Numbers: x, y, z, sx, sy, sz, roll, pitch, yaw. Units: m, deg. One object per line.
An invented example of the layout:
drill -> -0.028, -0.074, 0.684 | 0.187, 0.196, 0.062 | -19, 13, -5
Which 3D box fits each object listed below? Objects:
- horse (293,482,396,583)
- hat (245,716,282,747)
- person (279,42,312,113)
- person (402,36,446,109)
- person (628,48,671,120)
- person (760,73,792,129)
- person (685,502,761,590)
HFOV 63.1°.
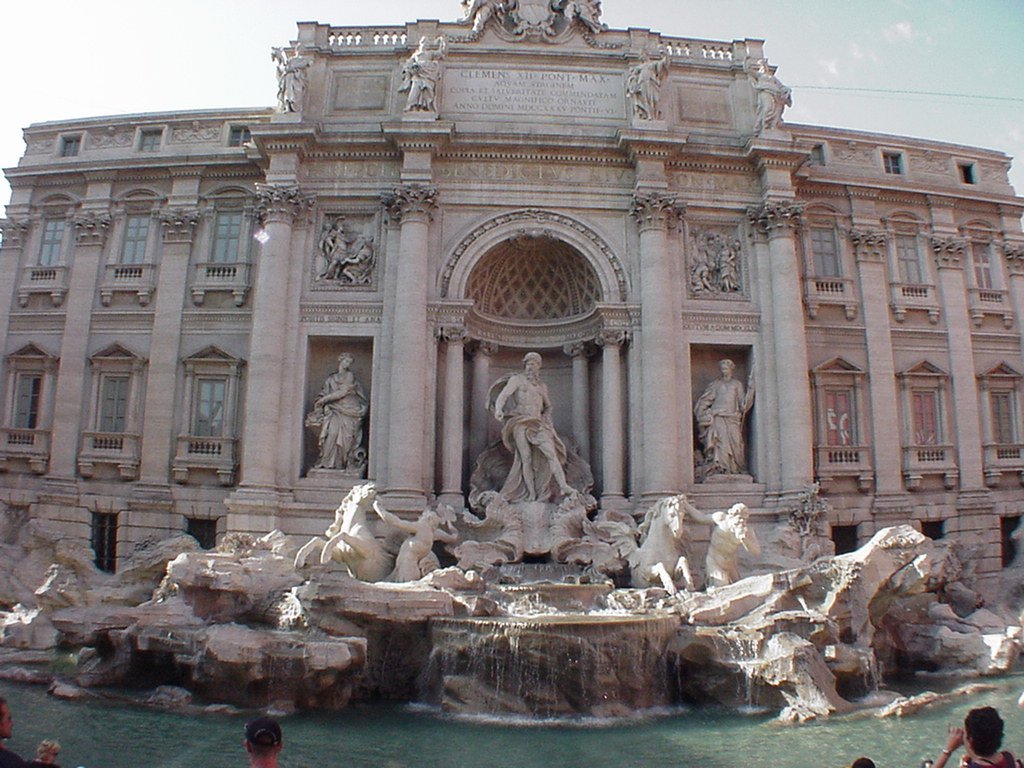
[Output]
horse -> -4.109, 3.784, 20.951 | 2.074, 2.345, 2.963 | 0, -16, -3
hat -> -2.697, 3.783, 9.097 | 0.287, 0.194, 0.381 | 4, -4, -8
person -> -6.793, -9.371, 25.724 | 0.910, 2.678, 0.638 | 0, -17, -2
person -> -2.719, -9.489, 25.565 | 1.262, 3.079, 0.693 | 3, -18, -12
person -> 4.239, -9.146, 25.860 | 1.264, 2.409, 0.694 | 0, -17, -3
person -> 8.142, -8.821, 25.871 | 0.940, 1.978, 0.490 | 2, -18, -8
person -> 5.221, 3.892, 20.219 | 1.595, 1.955, 0.782 | -15, -22, 40
